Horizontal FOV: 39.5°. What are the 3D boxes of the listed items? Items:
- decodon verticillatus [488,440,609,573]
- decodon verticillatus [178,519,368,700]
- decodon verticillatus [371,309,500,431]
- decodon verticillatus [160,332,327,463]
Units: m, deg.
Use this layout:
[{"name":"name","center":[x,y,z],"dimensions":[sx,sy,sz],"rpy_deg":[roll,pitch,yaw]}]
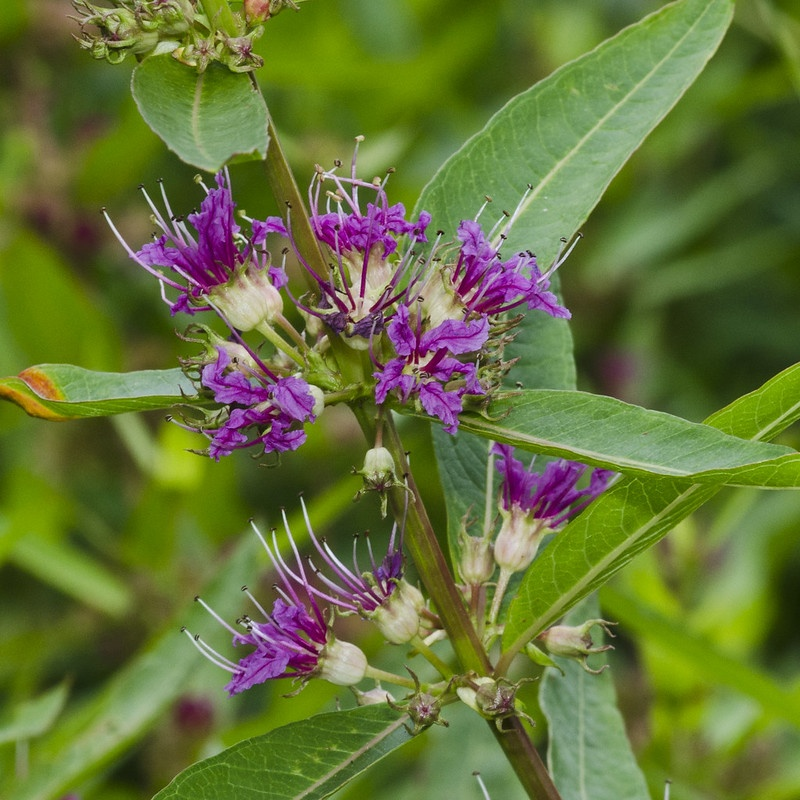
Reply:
[{"name":"decodon verticillatus","center":[0.306,0.236,2.448],"dimensions":[0.285,0.132,0.299],"rpy_deg":[22,60,11]},{"name":"decodon verticillatus","center":[-0.223,0.503,2.419],"dimensions":[0.354,0.251,0.279],"rpy_deg":[21,15,-1]},{"name":"decodon verticillatus","center":[0.069,-0.077,2.281],"dimensions":[0.210,0.228,0.259],"rpy_deg":[5,53,9]},{"name":"decodon verticillatus","center":[-0.277,0.018,2.347],"dimensions":[0.273,0.139,0.244],"rpy_deg":[-9,70,7]}]
